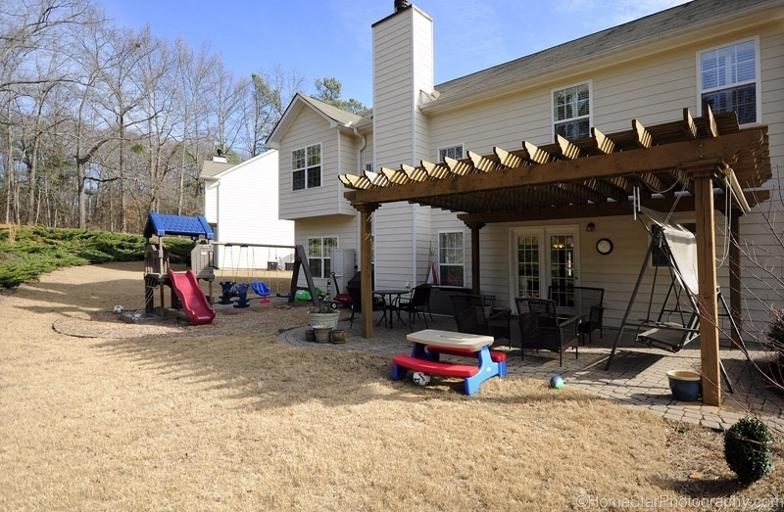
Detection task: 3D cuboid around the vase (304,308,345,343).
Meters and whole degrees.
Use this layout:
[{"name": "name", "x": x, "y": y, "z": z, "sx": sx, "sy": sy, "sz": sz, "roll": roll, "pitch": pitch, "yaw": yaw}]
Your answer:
[{"name": "vase", "x": -1.560, "y": 1.632, "z": 14.378, "sx": 0.927, "sy": 0.604, "sz": 0.716, "roll": 3, "pitch": -7, "yaw": -11}]

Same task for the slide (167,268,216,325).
[{"name": "slide", "x": -5.351, "y": 1.052, "z": 16.296, "sx": 0.623, "sy": 0.399, "sz": 1.854, "roll": 0, "pitch": 40, "yaw": -42}]

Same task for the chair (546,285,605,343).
[{"name": "chair", "x": 4.232, "y": 1.360, "z": 14.138, "sx": 0.846, "sy": 1.109, "sz": 1.637, "roll": -5, "pitch": -3, "yaw": -4}]

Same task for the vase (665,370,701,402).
[{"name": "vase", "x": 5.425, "y": 2.416, "z": 11.571, "sx": 0.563, "sy": 0.386, "sz": 0.560, "roll": -3, "pitch": -4, "yaw": 34}]

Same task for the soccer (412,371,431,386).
[{"name": "soccer", "x": 0.550, "y": 2.414, "z": 12.087, "sx": 0.311, "sy": 0.213, "sz": 0.239, "roll": 9, "pitch": -14, "yaw": -29}]

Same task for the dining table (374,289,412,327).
[{"name": "dining table", "x": -0.061, "y": 1.275, "z": 16.292, "sx": 1.439, "sy": 0.671, "sz": 1.355, "roll": -2, "pitch": 1, "yaw": 3}]

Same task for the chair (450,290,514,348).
[{"name": "chair", "x": 1.836, "y": 1.386, "z": 13.881, "sx": 1.276, "sy": 1.573, "sz": 1.264, "roll": -3, "pitch": 1, "yaw": -31}]

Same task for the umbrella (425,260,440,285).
[{"name": "umbrella", "x": 1.117, "y": 0.469, "z": 17.345, "sx": 0.411, "sy": 0.649, "sz": 0.187, "roll": 2, "pitch": -2, "yaw": -6}]

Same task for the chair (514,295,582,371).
[{"name": "chair", "x": 3.174, "y": 1.506, "z": 12.891, "sx": 1.158, "sy": 1.253, "sz": 1.697, "roll": -2, "pitch": -4, "yaw": 37}]
